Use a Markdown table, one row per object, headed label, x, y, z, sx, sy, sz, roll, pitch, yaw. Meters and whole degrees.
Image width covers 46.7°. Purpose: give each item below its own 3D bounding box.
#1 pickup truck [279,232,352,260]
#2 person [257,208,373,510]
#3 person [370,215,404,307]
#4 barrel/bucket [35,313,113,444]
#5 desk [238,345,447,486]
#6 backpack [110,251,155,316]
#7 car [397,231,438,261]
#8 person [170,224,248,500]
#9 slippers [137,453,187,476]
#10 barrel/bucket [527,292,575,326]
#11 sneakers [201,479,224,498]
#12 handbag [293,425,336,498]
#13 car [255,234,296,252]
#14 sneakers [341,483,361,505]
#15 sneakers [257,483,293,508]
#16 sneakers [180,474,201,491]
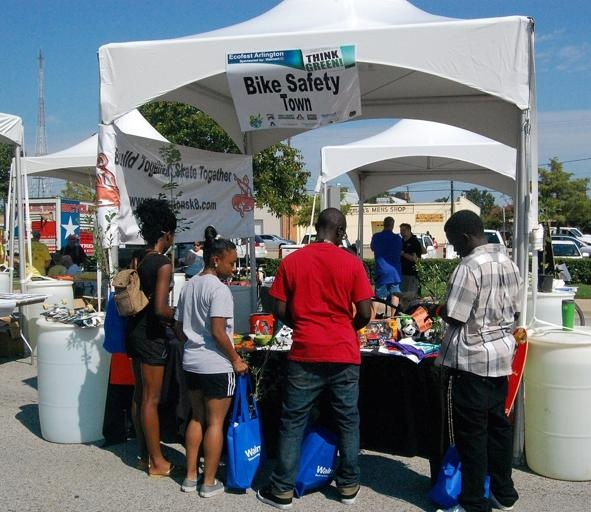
| label | x | y | z | sx | sy | sz | roll | pitch | yaw |
| --- | --- | --- | --- | --- | --- | --- | --- | --- | --- |
| pickup truck | 0.438 | -0.087 | 19.405 | 1.923 | 0.957 | 1.201 | -2 | 4 | 4 |
| person | 0.161 | 0.723 | 4.888 | 0.749 | 2.117 | 0.289 | 0 | 3 | 1 |
| person | 1.387 | 0.068 | 10.534 | 0.447 | 1.308 | 0.543 | 2 | 4 | 31 |
| barrel/bucket | -2.014 | 1.056 | 6.107 | 0.839 | 1.158 | 0.903 | 4 | 5 | 0 |
| desk | 0.258 | 1.445 | 5.975 | 2.007 | 0.900 | 2.142 | -6 | -8 | -11 |
| backpack | -1.257 | 0.240 | 5.188 | 0.248 | 0.428 | 0.208 | -4 | -3 | 44 |
| car | 4.035 | -0.264 | 22.341 | 0.837 | 0.929 | 1.534 | -1 | -1 | 16 |
| person | -0.596 | 0.817 | 5.000 | 0.458 | 1.871 | 0.322 | 3 | 4 | 38 |
| slippers | -1.060 | 1.640 | 5.318 | 0.277 | 0.096 | 0.156 | 1 | 1 | 9 |
| barrel/bucket | 2.495 | 0.518 | 6.697 | 0.382 | 0.494 | 0.416 | 1 | -1 | 0 |
| sneakers | -0.599 | 1.699 | 5.004 | 0.071 | 0.087 | 0.190 | 2 | 3 | 32 |
| handbag | 0.139 | 1.516 | 5.141 | 0.259 | 0.500 | 0.387 | 12 | -2 | 43 |
| car | -0.887 | -0.651 | 35.479 | 1.729 | 0.704 | 0.813 | -1 | 4 | 5 |
| sneakers | 0.399 | 1.697 | 4.912 | 0.069 | 0.096 | 0.207 | 0 | 8 | 17 |
| sneakers | -0.146 | 1.725 | 4.925 | 0.111 | 0.121 | 0.255 | 4 | 11 | -44 |
| sneakers | -0.771 | 1.686 | 5.083 | 0.062 | 0.075 | 0.171 | 1 | 1 | 32 |
